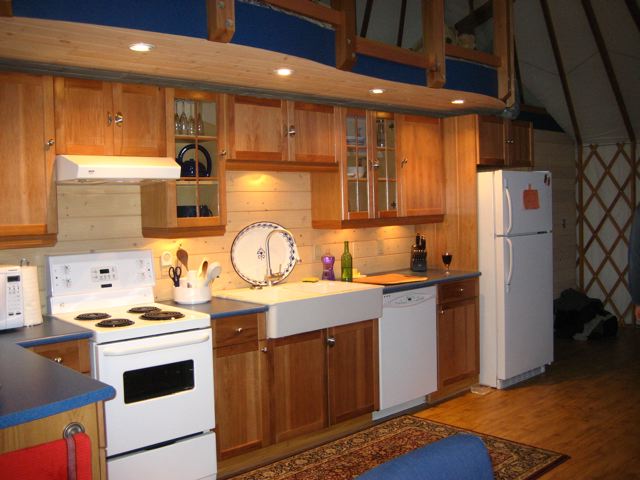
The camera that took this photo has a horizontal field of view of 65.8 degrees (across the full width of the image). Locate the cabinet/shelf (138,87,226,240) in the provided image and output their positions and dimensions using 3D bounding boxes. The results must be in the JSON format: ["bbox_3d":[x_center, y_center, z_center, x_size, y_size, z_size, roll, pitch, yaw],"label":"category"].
[{"bbox_3d":[-0.828,-0.467,3.253,0.445,0.783,0.260,0,2,-19],"label":"cabinet/shelf"}]

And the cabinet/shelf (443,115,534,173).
[{"bbox_3d":[1.760,-0.953,4.982,1.028,0.466,0.315,-5,6,-38],"label":"cabinet/shelf"}]

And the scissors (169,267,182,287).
[{"bbox_3d":[-1.027,0.251,3.503,0.075,0.174,0.014,-4,4,-27],"label":"scissors"}]

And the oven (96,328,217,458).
[{"bbox_3d":[-0.935,0.849,2.883,0.681,0.551,0.484,-5,-7,-31],"label":"oven"}]

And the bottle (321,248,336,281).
[{"bbox_3d":[0.068,0.213,4.264,0.115,0.238,0.248,-1,4,1],"label":"bottle"}]

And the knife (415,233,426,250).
[{"bbox_3d":[1.000,0.020,4.880,0.108,0.157,0.232,0,4,14],"label":"knife"}]

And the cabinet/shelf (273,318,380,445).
[{"bbox_3d":[-0.067,0.974,3.696,0.996,0.736,0.435,-3,5,-34],"label":"cabinet/shelf"}]

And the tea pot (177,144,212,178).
[{"bbox_3d":[-0.847,-0.525,3.332,0.249,0.200,0.175,-1,20,-11],"label":"tea pot"}]

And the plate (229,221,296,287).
[{"bbox_3d":[-0.443,0.102,3.879,0.516,0.472,0.067,-3,10,-32],"label":"plate"}]

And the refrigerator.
[{"bbox_3d":[1.869,0.355,4.670,0.794,1.974,0.279,-3,5,-25],"label":"refrigerator"}]
